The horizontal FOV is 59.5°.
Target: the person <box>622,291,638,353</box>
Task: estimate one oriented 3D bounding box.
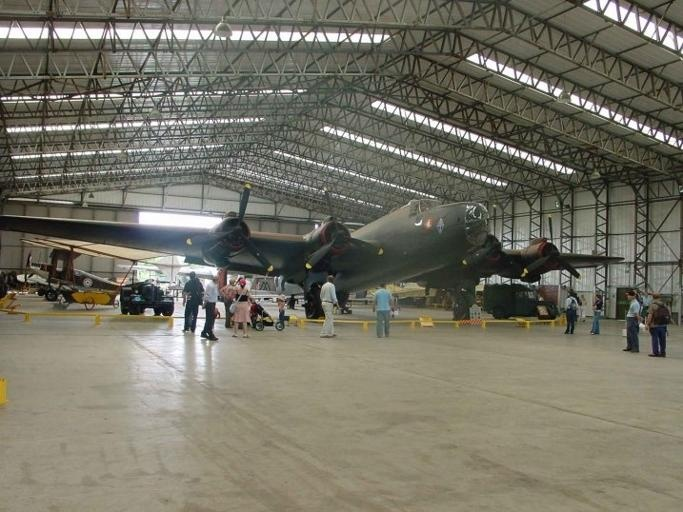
[{"bbox_3d":[8.946,1.988,18.344,0.431,1.865,1.237,1,-6,26],"label":"person"}]

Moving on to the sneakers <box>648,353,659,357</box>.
[{"bbox_3d":[8.924,2.815,16.971,0.236,0.093,0.085,6,-7,-16],"label":"sneakers"}]

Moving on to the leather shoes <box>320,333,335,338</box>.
[{"bbox_3d":[-0.519,2.620,19.553,0.162,0.186,0.386,7,-11,-44],"label":"leather shoes"}]

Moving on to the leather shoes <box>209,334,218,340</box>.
[{"bbox_3d":[-3.775,2.376,17.507,0.273,0.158,0.426,4,-5,-13],"label":"leather shoes"}]

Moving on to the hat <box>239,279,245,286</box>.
[{"bbox_3d":[-2.987,0.787,17.933,0.172,0.194,0.344,4,-5,-10],"label":"hat"}]

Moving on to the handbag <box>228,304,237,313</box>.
[{"bbox_3d":[-3.481,1.652,19.026,0.195,0.323,0.225,20,-24,-18],"label":"handbag"}]

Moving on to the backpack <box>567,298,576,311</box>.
[{"bbox_3d":[9.244,1.904,23.844,0.306,0.437,0.412,2,5,11],"label":"backpack"}]

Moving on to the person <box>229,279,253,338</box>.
[{"bbox_3d":[-3.142,1.598,18.610,0.555,1.818,1.503,4,-5,-10],"label":"person"}]

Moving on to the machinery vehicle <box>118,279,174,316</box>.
[{"bbox_3d":[-8.712,1.845,26.301,1.958,1.641,3.406,1,-6,-24],"label":"machinery vehicle"}]

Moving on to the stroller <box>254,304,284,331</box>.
[{"bbox_3d":[-2.647,2.189,21.523,1.165,1.055,0.739,0,1,-9],"label":"stroller"}]

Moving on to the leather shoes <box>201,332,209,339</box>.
[{"bbox_3d":[-4.041,2.339,17.660,0.123,0.183,0.421,7,-7,-41],"label":"leather shoes"}]

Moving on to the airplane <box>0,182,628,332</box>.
[{"bbox_3d":[0.054,0.024,24.127,20.462,4.938,6.589,4,-5,-16],"label":"airplane"}]
